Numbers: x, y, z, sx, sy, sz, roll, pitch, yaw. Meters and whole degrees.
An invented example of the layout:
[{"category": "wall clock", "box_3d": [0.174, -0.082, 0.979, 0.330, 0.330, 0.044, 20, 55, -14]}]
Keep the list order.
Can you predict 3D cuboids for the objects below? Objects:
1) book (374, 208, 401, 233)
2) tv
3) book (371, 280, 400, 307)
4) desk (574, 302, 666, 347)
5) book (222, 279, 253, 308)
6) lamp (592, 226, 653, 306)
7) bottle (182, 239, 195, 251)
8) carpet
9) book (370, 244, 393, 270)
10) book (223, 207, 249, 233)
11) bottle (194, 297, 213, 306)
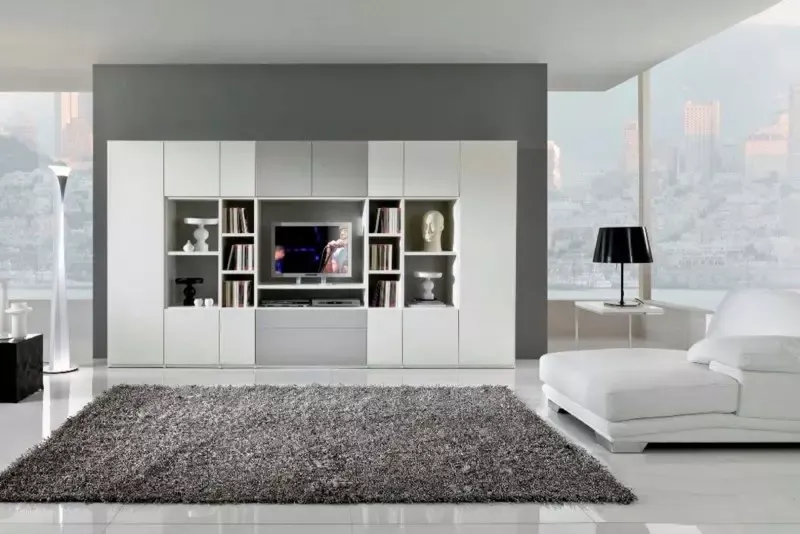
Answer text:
[{"category": "book", "box_3d": [-0.151, -0.558, 9.350, 0.290, 0.360, 0.385, 0, 0, -5]}, {"category": "tv", "box_3d": [-1.112, -0.199, 9.549, 0.816, 0.568, 0.141, 0, -3, -2]}, {"category": "book", "box_3d": [-0.130, 0.371, 9.459, 0.415, 0.378, 0.299, 0, -5, 12]}, {"category": "desk", "box_3d": [2.655, 0.547, 9.347, 0.737, 0.529, 1.077, -1, 4, -6]}, {"category": "book", "box_3d": [-1.950, 0.326, 9.252, 0.303, 0.381, 0.400, 0, -2, -7]}, {"category": "lamp", "box_3d": [2.728, 0.008, 9.440, 0.728, 0.907, 0.746, 1, 0, -24]}, {"category": "bottle", "box_3d": [-2.560, -0.272, 9.373, 0.142, 0.175, 0.159, -4, 7, -39]}, {"category": "carpet", "box_3d": [-0.847, 1.665, 7.277, 5.011, 0.742, 1.651, -2, 3, 0]}, {"category": "book", "box_3d": [-0.232, -0.096, 9.551, 0.278, 0.349, 0.363, 0, -1, -2]}, {"category": "book", "box_3d": [-1.974, -0.557, 9.311, 0.303, 0.396, 0.323, -1, 1, -12]}, {"category": "bottle", "box_3d": [-2.350, 0.417, 9.277, 0.184, 0.064, 0.109, -2, 1, -14]}]
